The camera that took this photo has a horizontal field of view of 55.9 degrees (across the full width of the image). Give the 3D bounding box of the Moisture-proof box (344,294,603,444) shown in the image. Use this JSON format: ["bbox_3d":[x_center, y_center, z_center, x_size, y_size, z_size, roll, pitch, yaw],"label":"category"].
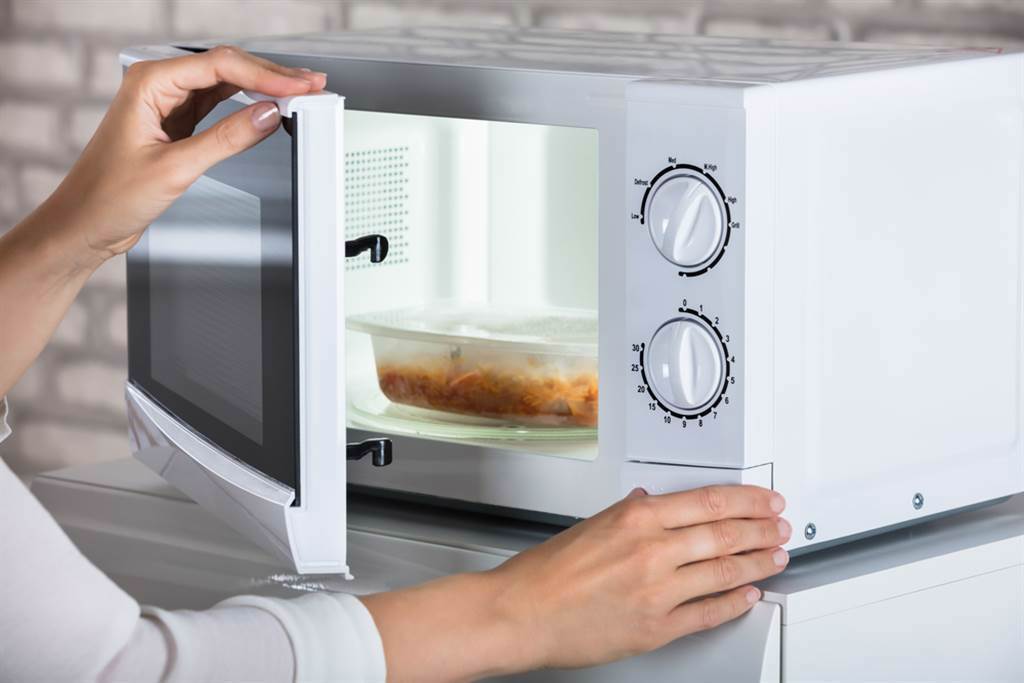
[{"bbox_3d":[-0.027,0.011,0.865,0.175,0.060,0.125,9,12,40],"label":"Moisture-proof box"}]
